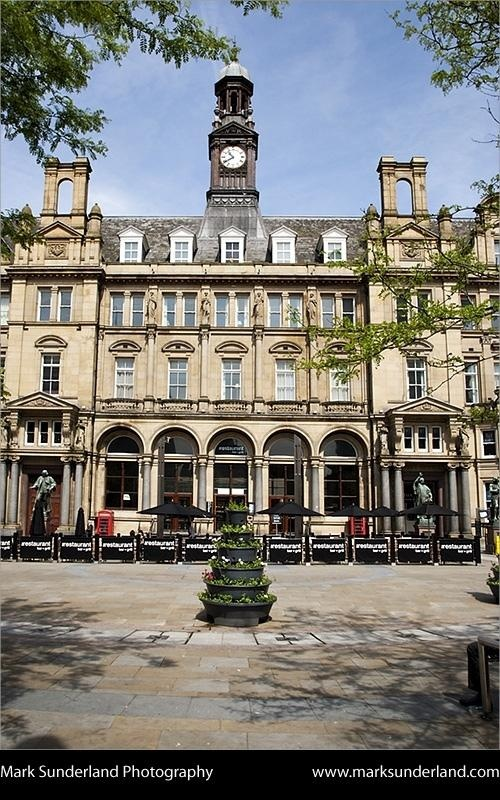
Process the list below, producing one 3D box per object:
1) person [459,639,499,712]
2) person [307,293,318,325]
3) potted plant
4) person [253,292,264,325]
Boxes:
[{"bbox_3d":[2.682,3.151,7.236,0.465,0.791,1.365,-4,-12,17],"label":"person"},{"bbox_3d":[3.791,-5.622,37.548,0.746,2.130,0.515,0,-11,1],"label":"person"},{"bbox_3d":[-0.256,3.459,13.090,1.491,2.449,1.328,-1,-11,2],"label":"potted plant"},{"bbox_3d":[0.502,-5.544,37.433,0.627,2.367,0.464,0,-11,0],"label":"person"}]
